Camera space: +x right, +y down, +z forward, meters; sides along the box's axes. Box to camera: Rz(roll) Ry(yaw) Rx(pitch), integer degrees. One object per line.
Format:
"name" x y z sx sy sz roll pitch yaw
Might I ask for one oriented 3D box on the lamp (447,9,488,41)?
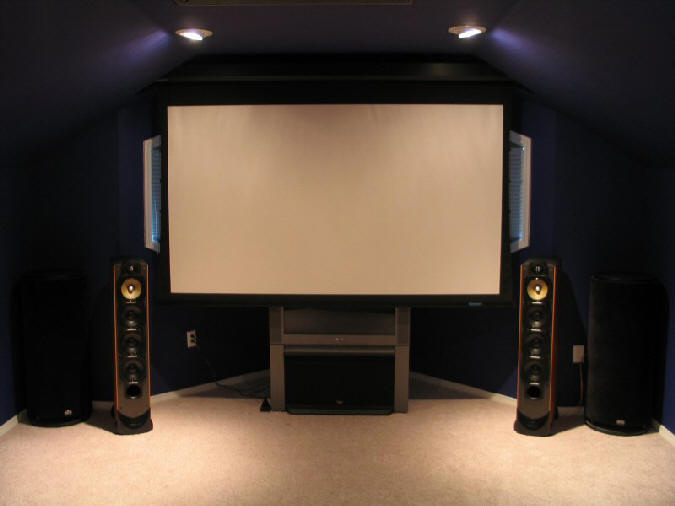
"lamp" 0.861 -1.487 3.895 0.251 0.112 0.389 3 14 13

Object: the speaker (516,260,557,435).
"speaker" 1.375 0.650 4.059 0.274 1.174 0.291 4 14 18

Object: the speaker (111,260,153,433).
"speaker" -1.427 0.649 4.045 0.278 1.174 0.234 -3 14 -13

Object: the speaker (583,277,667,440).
"speaker" 2.012 0.707 4.063 0.507 1.046 0.284 2 13 9

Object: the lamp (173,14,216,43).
"lamp" -0.956 -1.475 3.921 0.259 0.120 0.426 -3 14 -13
